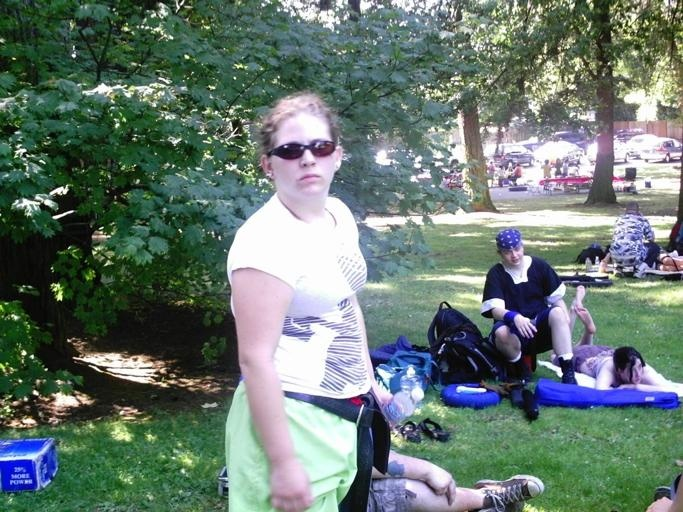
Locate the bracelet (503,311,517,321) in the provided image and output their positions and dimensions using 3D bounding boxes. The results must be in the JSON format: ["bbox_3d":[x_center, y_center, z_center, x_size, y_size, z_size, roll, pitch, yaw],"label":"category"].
[{"bbox_3d":[1.775,0.629,6.495,0.102,0.070,0.100,1,31,16],"label":"bracelet"}]

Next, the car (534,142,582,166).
[{"bbox_3d":[13.813,-6.628,38.938,3.812,1.164,1.710,-5,6,-43],"label":"car"}]

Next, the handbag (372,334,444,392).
[{"bbox_3d":[0.706,1.116,6.380,0.819,0.266,0.791,0,1,16],"label":"handbag"}]

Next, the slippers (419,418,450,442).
[{"bbox_3d":[0.841,1.579,5.576,0.156,0.084,0.240,-9,20,-39],"label":"slippers"}]

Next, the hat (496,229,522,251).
[{"bbox_3d":[1.808,-0.180,6.636,0.232,0.215,0.253,-1,4,21],"label":"hat"}]

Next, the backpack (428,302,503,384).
[{"bbox_3d":[1.359,1.044,6.851,0.437,0.889,0.669,-15,37,-28],"label":"backpack"}]

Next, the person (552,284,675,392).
[{"bbox_3d":[2.907,0.858,6.552,0.945,1.035,1.364,-3,3,-9],"label":"person"}]

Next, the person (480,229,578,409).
[{"bbox_3d":[2.038,0.575,6.579,1.152,1.547,1.231,-12,11,-26],"label":"person"}]

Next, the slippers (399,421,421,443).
[{"bbox_3d":[0.635,1.596,5.579,0.158,0.117,0.191,0,0,-7],"label":"slippers"}]

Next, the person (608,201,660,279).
[{"bbox_3d":[5.641,-0.365,12.113,1.107,1.330,1.041,11,21,38],"label":"person"}]

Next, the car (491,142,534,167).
[{"bbox_3d":[13.137,-7.526,46.854,2.166,1.599,3.431,3,16,18],"label":"car"}]
